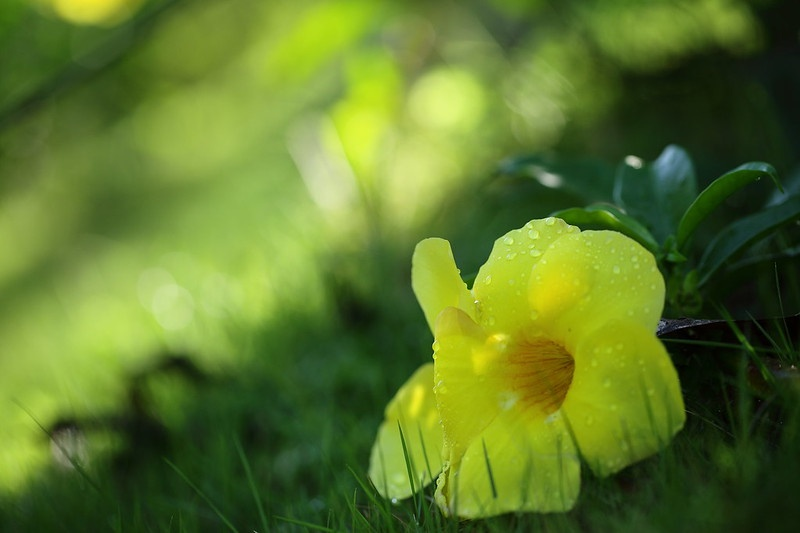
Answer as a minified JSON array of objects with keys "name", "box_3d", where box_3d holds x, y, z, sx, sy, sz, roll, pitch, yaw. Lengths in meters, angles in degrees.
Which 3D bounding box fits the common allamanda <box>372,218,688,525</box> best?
[{"name":"common allamanda","box_3d":[0.197,0.178,0.988,0.327,0.163,0.378,-33,55,25]}]
